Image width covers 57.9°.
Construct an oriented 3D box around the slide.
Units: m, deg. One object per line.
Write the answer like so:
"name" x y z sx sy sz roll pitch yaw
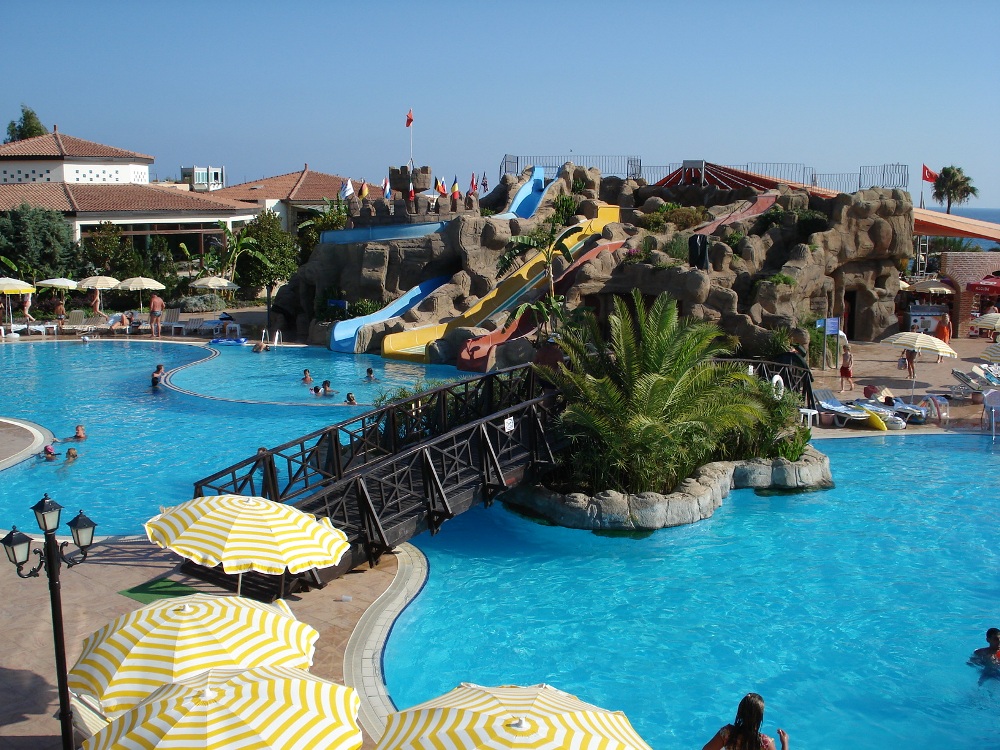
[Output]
"slide" -1.658 -3.321 31.248 13.547 4.406 1.880 -32 42 -33
